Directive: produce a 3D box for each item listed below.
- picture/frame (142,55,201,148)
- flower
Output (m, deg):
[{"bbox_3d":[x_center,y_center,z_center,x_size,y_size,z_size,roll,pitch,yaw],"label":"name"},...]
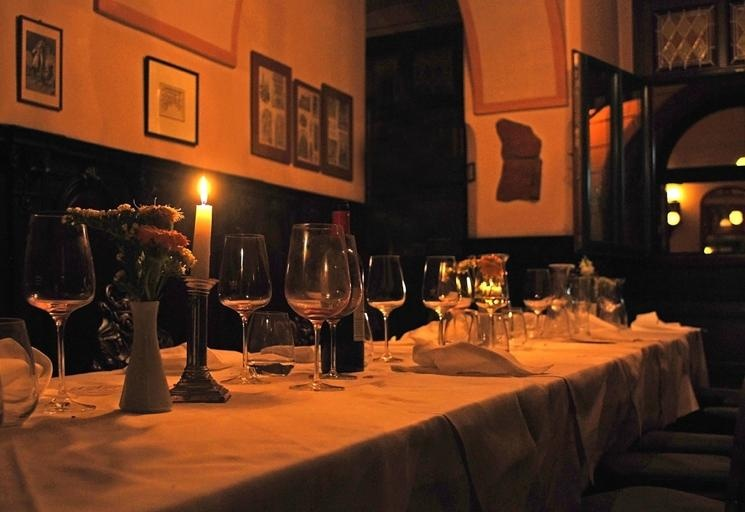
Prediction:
[{"bbox_3d":[-1.349,-1.025,4.447,0.063,0.693,0.669,1,0,23],"label":"picture/frame"},{"bbox_3d":[-0.580,-0.018,1.664,0.253,0.237,0.233,1,-3,-2],"label":"flower"}]
